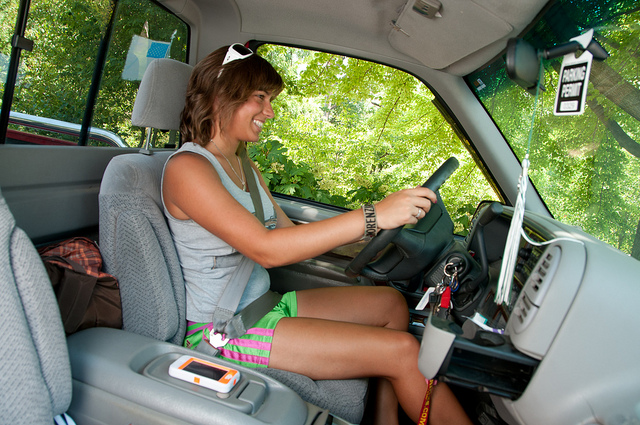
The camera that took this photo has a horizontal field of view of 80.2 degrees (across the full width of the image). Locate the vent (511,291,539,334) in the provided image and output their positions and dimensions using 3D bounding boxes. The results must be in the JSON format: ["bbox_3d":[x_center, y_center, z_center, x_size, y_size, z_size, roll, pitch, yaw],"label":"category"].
[{"bbox_3d":[0.625,0.323,1.215,0.023,0.096,0.105,16,41,5],"label":"vent"}]

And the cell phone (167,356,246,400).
[{"bbox_3d":[-0.371,0.519,1.239,0.177,0.033,0.107,14,20,22],"label":"cell phone"}]

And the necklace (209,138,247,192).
[{"bbox_3d":[-0.398,-0.224,1.794,0.215,0.186,0.176,17,11,11],"label":"necklace"}]

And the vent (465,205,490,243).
[{"bbox_3d":[0.769,0.064,1.913,0.046,0.223,0.036,-16,56,-24],"label":"vent"}]

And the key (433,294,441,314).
[{"bbox_3d":[0.511,0.400,1.671,0.014,0.111,0.015,16,-14,7],"label":"key"}]

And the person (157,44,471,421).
[{"bbox_3d":[-0.083,0.097,1.675,1.292,1.428,0.752,18,11,20],"label":"person"}]
